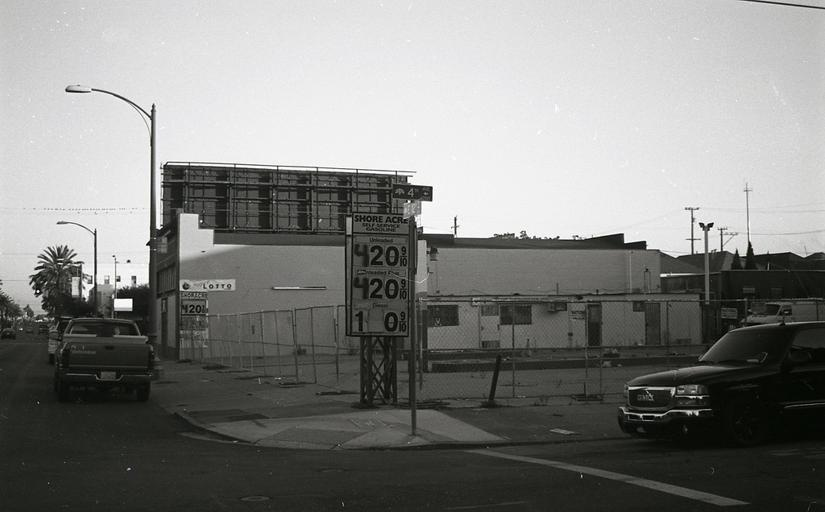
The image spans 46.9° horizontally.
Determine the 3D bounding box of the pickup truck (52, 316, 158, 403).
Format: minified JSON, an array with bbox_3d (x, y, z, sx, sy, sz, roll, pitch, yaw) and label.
[{"bbox_3d":[-9.743,3.250,30.013,2.708,2.564,2.957,0,-1,-23],"label":"pickup truck"}]
